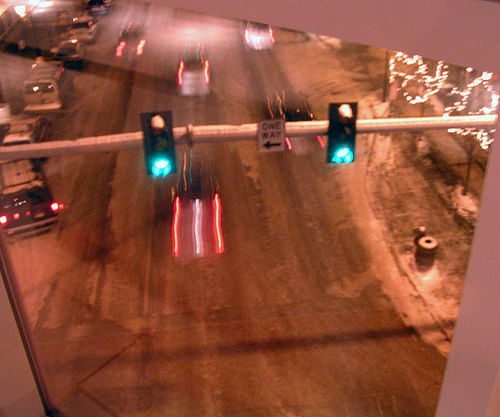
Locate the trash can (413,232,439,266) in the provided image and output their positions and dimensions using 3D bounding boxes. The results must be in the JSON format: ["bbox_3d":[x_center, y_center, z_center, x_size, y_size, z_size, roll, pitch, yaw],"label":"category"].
[{"bbox_3d":[5.443,1.246,12.895,0.701,1.056,1.225,-5,-2,27],"label":"trash can"}]

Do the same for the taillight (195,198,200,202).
[{"bbox_3d":[-1.920,-0.318,15.116,0.095,0.111,0.154,-4,-2,-8],"label":"taillight"}]

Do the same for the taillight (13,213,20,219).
[{"bbox_3d":[-7.559,0.243,13.525,0.227,0.203,0.129,1,26,-8],"label":"taillight"}]

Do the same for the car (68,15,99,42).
[{"bbox_3d":[-11.742,-12.643,29.550,1.346,1.062,3.182,4,49,-5],"label":"car"}]

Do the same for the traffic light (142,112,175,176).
[{"bbox_3d":[-1.529,-1.070,6.973,0.462,0.846,0.570,-4,-1,-10],"label":"traffic light"}]

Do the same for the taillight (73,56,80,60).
[{"bbox_3d":[-11.306,-9.799,26.910,0.304,0.072,0.309,5,13,36],"label":"taillight"}]

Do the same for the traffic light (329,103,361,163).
[{"bbox_3d":[1.600,-1.357,7.197,0.520,1.012,0.623,-5,-1,9],"label":"traffic light"}]
